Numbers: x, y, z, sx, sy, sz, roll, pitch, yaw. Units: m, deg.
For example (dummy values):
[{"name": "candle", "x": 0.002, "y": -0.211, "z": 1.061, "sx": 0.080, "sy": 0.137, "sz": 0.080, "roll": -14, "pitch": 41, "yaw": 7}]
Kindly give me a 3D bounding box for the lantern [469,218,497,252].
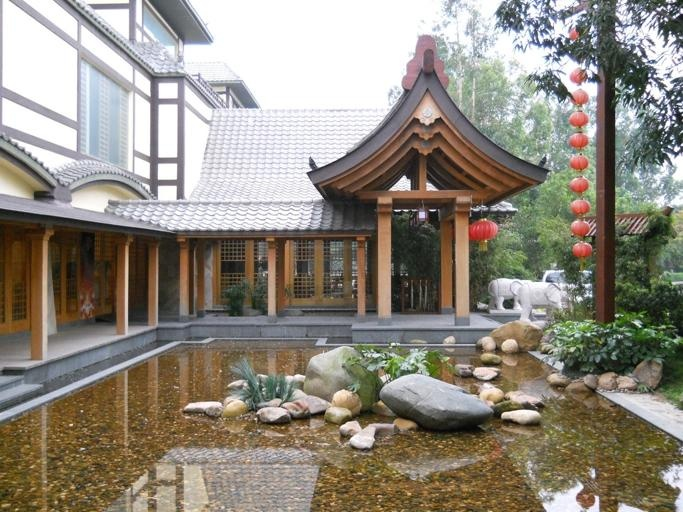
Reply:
[{"name": "lantern", "x": 3.370, "y": -0.510, "z": 13.905, "sx": 0.742, "sy": 0.789, "sz": 0.730, "roll": 0, "pitch": -4, "yaw": -15}]
